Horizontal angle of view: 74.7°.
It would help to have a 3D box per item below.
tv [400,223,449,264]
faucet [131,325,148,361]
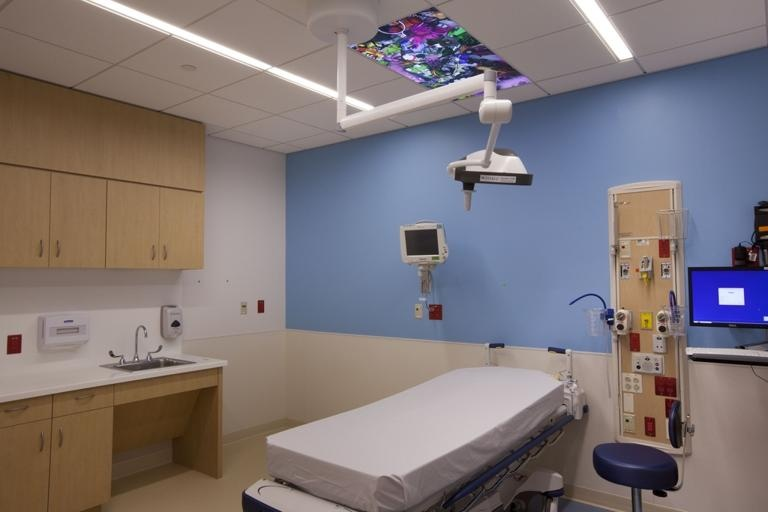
[{"bbox_3d":[0.432,-0.127,5.166,0.493,0.452,0.278,-2,2,15],"label":"tv"},{"bbox_3d":[-2.459,0.862,5.028,0.091,0.327,0.231,-2,10,4],"label":"faucet"}]
